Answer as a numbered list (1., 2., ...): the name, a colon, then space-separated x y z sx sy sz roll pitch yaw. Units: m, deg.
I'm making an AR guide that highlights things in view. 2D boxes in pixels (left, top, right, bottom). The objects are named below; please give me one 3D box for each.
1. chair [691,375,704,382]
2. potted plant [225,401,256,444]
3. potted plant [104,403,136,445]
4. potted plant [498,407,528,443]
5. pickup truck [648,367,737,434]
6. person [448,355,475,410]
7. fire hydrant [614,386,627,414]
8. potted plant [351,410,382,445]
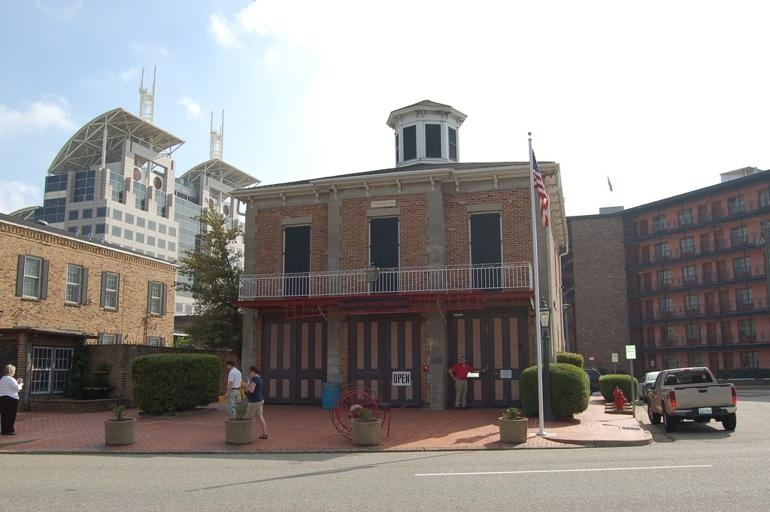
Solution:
1. chair: 11.378 4.436 25.818 0.415 0.375 0.236 -7 -22 28
2. potted plant: -4.651 5.349 22.628 0.856 1.277 0.456 0 -13 -14
3. potted plant: -8.530 5.365 22.776 0.982 1.079 1.027 1 -4 22
4. potted plant: 3.950 5.354 22.675 1.041 1.037 0.812 2 -4 -4
5. pickup truck: 11.032 4.949 25.831 1.969 1.543 4.001 -12 -27 42
6. person: 3.160 5.187 29.145 0.855 2.044 1.213 -4 -12 5
7. fire hydrant: 9.914 6.052 29.869 0.473 0.963 0.998 -6 -13 16
8. potted plant: -0.596 5.418 22.522 0.918 1.140 0.345 -3 -12 1
